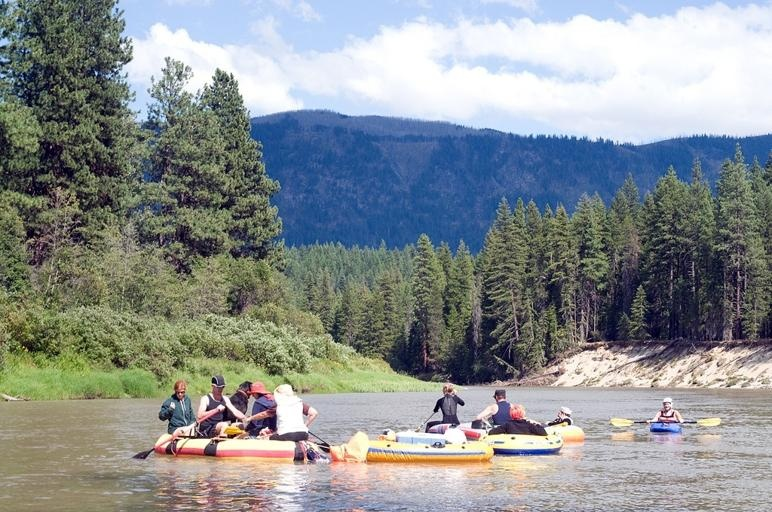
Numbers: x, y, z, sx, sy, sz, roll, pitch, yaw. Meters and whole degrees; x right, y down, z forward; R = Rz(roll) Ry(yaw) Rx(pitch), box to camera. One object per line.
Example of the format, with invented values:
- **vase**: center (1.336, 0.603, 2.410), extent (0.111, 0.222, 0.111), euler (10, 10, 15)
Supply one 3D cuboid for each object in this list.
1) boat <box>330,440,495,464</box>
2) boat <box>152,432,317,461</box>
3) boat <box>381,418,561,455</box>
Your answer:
- **boat**: center (2.740, 13.593, 91.897), extent (7.031, 1.371, 4.036), euler (2, -9, 1)
- **boat**: center (-10.575, 13.233, 91.431), extent (10.243, 1.405, 0.610), euler (1, -5, 6)
- **boat**: center (7.543, 13.109, 95.660), extent (9.396, 2.432, 7.645), euler (-3, 3, 10)
